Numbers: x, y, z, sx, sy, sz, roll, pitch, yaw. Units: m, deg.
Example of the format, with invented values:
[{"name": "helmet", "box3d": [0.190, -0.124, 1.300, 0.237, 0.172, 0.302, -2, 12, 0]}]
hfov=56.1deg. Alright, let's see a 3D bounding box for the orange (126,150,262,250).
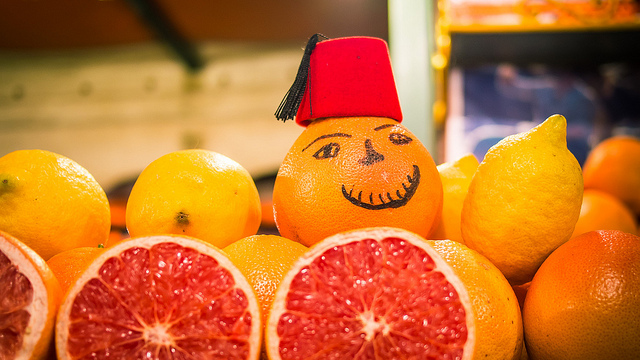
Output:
[{"name": "orange", "box3d": [-0.425, 0.076, 2.125, 0.375, 0.356, 0.387, -4, 23, -36]}]
